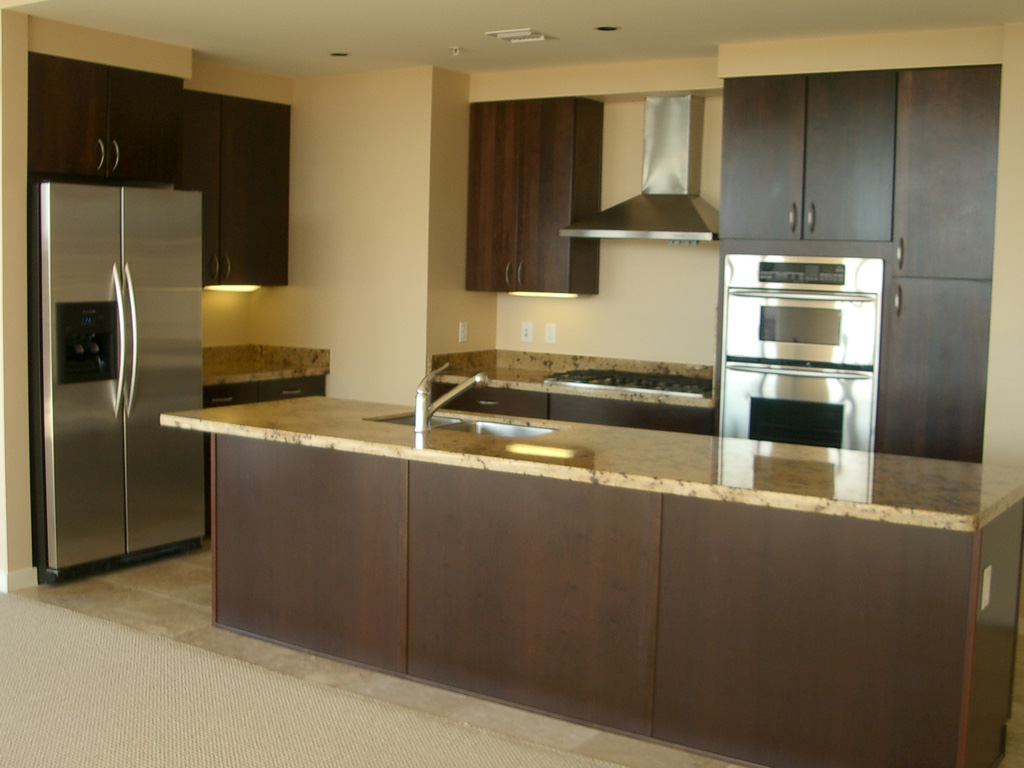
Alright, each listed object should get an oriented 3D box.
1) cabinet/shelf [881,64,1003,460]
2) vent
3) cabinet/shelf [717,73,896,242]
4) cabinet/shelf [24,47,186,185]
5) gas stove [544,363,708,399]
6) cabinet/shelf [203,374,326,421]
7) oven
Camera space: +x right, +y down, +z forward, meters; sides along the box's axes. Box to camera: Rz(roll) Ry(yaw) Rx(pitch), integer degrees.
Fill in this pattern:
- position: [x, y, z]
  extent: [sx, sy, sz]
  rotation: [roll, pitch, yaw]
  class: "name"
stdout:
- position: [2.202, -0.613, 4.602]
  extent: [0.509, 1.969, 0.146]
  rotation: [4, 9, 24]
  class: "cabinet/shelf"
- position: [0.805, -1.310, 5.638]
  extent: [0.907, 0.731, 0.855]
  rotation: [2, 11, 17]
  class: "vent"
- position: [1.626, -1.240, 4.818]
  extent: [0.844, 0.843, 0.336]
  rotation: [3, 5, 30]
  class: "cabinet/shelf"
- position: [-2.334, -1.527, 5.082]
  extent: [0.894, 0.607, 0.499]
  rotation: [-4, 25, -39]
  class: "cabinet/shelf"
- position: [0.790, -0.025, 5.674]
  extent: [1.073, 0.036, 0.672]
  rotation: [5, 11, 26]
  class: "gas stove"
- position: [-1.550, 0.030, 5.707]
  extent: [0.105, 0.205, 1.029]
  rotation: [6, 12, 33]
  class: "cabinet/shelf"
- position: [1.662, -0.238, 5.187]
  extent: [0.840, 1.248, 0.611]
  rotation: [3, 18, 18]
  class: "oven"
